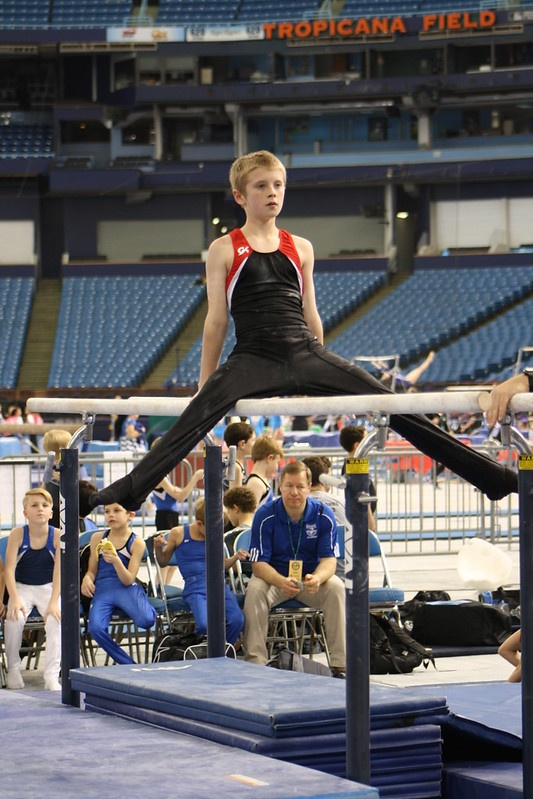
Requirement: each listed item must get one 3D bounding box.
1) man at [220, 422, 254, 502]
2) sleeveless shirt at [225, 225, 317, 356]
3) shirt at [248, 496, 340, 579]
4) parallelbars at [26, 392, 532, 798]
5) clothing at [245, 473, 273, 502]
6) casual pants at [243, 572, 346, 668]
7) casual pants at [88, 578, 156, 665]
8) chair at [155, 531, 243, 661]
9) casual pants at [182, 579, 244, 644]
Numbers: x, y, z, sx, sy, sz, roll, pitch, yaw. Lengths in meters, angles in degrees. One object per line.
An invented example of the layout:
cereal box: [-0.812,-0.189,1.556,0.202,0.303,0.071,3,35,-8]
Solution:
man: [-0.257,0.460,14.510,0.309,0.636,0.285,-6,23,-34]
sleeveless shirt: [0.008,-0.607,10.324,0.552,0.962,0.352,-2,-21,-13]
shirt: [0.183,0.979,12.891,0.893,0.807,0.505,1,-2,-1]
parallelbars: [0.247,1.171,10.937,4.014,2.231,2.426,-3,-7,36]
clothing: [-0.063,0.700,13.886,0.186,0.327,0.338,-4,3,1]
casual pants: [0.218,1.655,12.660,0.671,0.928,0.660,2,-19,-5]
casual pants: [-1.054,1.663,12.633,0.454,0.672,0.423,-7,-10,-3]
chair: [-0.467,1.395,12.827,0.520,1.030,0.670,-13,-1,-9]
casual pants: [-0.488,1.541,13.149,0.578,0.317,1.053,-1,0,-4]
